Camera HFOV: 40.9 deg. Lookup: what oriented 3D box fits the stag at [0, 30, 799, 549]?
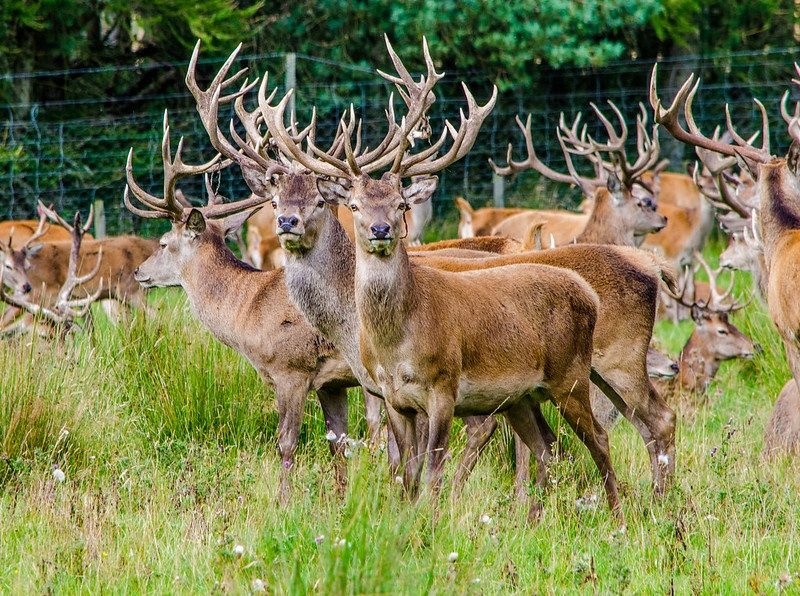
[{"bbox_3d":[-0.087,-0.058,7.868,4.510,4.487,2.514,-2,-4,1],"label":"stag"}]
